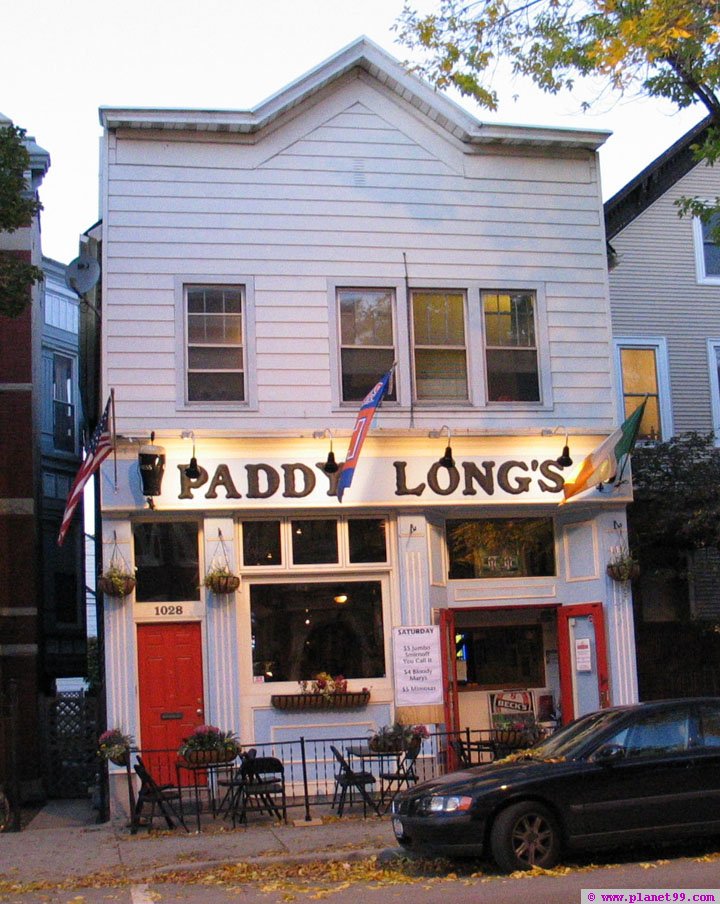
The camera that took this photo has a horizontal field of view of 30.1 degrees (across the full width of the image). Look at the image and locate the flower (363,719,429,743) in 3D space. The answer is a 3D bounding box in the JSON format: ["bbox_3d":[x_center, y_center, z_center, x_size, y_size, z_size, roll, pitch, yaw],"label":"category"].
[{"bbox_3d":[0.419,3.322,15.954,0.460,0.257,0.463,-4,3,-3],"label":"flower"}]

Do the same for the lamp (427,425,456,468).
[{"bbox_3d":[1.154,-0.090,17.193,0.408,0.551,0.397,3,-12,-30],"label":"lamp"}]

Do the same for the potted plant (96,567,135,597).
[{"bbox_3d":[-2.925,1.595,16.193,0.357,0.258,0.383,3,-14,-11],"label":"potted plant"}]

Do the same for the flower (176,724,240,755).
[{"bbox_3d":[-1.743,3.346,15.580,0.665,0.315,0.707,-2,-10,-6],"label":"flower"}]

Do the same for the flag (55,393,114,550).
[{"bbox_3d":[-3.306,0.192,16.285,0.657,1.837,1.941,0,-10,-13],"label":"flag"}]

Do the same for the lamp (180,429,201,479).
[{"bbox_3d":[-2.076,0.022,16.436,0.244,0.614,0.476,-1,-10,-8],"label":"lamp"}]

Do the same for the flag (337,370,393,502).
[{"bbox_3d":[0.075,-0.276,16.519,0.745,1.775,1.476,-3,-10,1],"label":"flag"}]

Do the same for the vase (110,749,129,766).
[{"bbox_3d":[-2.784,3.513,15.516,0.214,0.228,0.344,-1,-10,-10],"label":"vase"}]

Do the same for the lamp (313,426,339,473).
[{"bbox_3d":[-0.430,-0.002,16.887,0.295,0.613,0.386,-4,-10,7],"label":"lamp"}]

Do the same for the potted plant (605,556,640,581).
[{"bbox_3d":[3.442,1.534,17.422,0.337,0.339,0.328,-2,-10,6],"label":"potted plant"}]

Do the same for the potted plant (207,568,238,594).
[{"bbox_3d":[-1.678,1.583,16.453,0.305,0.186,0.333,1,-10,-4],"label":"potted plant"}]

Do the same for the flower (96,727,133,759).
[{"bbox_3d":[-2.811,3.372,15.590,0.345,0.371,0.365,-3,-12,41],"label":"flower"}]

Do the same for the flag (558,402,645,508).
[{"bbox_3d":[3.124,0.068,17.229,1.032,1.082,1.071,-4,-10,6],"label":"flag"}]
